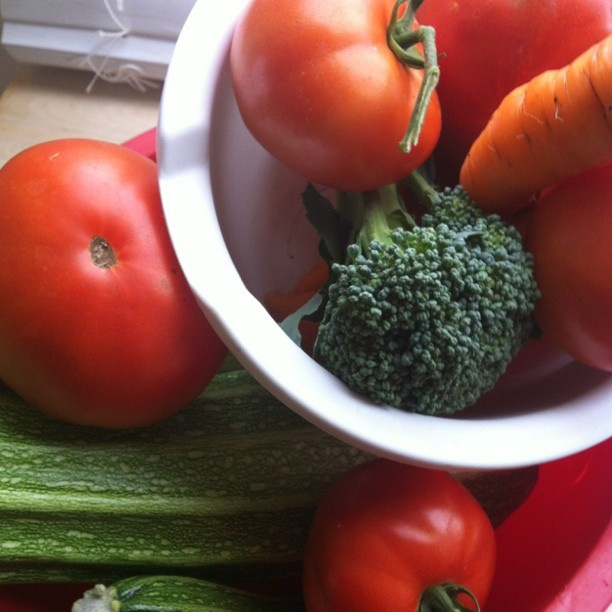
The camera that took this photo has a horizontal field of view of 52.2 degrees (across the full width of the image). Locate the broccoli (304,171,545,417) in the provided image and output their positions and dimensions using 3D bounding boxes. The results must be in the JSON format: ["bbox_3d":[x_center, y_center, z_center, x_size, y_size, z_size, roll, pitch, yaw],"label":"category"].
[{"bbox_3d":[0.122,0.005,0.616,0.177,0.130,0.228,41,64,18],"label":"broccoli"}]
